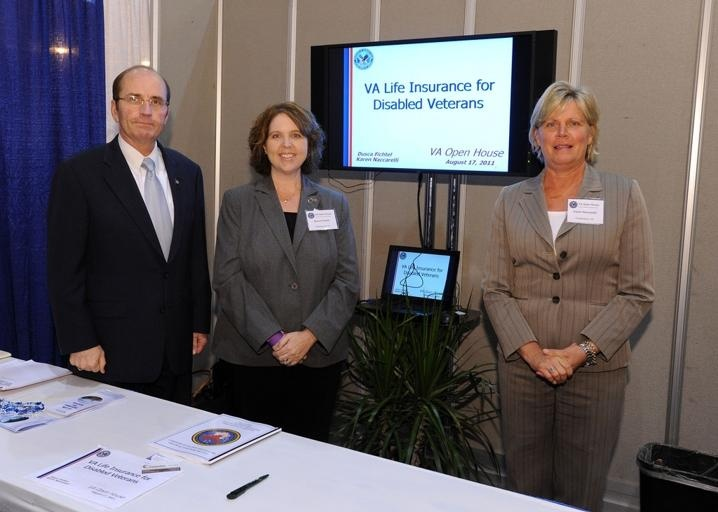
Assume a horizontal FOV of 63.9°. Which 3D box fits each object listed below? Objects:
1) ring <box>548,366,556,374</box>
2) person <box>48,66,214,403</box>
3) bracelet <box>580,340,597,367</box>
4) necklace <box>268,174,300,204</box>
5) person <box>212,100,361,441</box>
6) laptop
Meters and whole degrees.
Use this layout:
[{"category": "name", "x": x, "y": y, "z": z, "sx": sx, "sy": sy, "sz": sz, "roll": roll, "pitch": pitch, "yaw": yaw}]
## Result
[{"category": "ring", "x": 0.861, "y": 0.502, "z": 2.549, "sx": 0.037, "sy": 0.028, "sz": 0.011, "roll": 49, "pitch": 0, "yaw": 22}, {"category": "person", "x": -1.089, "y": -0.071, "z": 2.745, "sx": 0.738, "sy": 1.662, "sz": 0.337, "roll": -6, "pitch": 10, "yaw": -31}, {"category": "bracelet", "x": 1.019, "y": 0.437, "z": 2.593, "sx": 0.031, "sy": 0.093, "sz": 0.090, "roll": -9, "pitch": -24, "yaw": 1}, {"category": "necklace", "x": -0.362, "y": -0.342, "z": 2.943, "sx": 0.122, "sy": 0.124, "sz": 0.169, "roll": 0, "pitch": 6, "yaw": -10}, {"category": "person", "x": -0.398, "y": 0.333, "z": 3.082, "sx": 0.705, "sy": 2.231, "sz": 0.689, "roll": 1, "pitch": 20, "yaw": -8}, {"category": "laptop", "x": 0.332, "y": 0.147, "z": 3.454, "sx": 0.486, "sy": 0.379, "sz": 0.426, "roll": 6, "pitch": 11, "yaw": 23}]
